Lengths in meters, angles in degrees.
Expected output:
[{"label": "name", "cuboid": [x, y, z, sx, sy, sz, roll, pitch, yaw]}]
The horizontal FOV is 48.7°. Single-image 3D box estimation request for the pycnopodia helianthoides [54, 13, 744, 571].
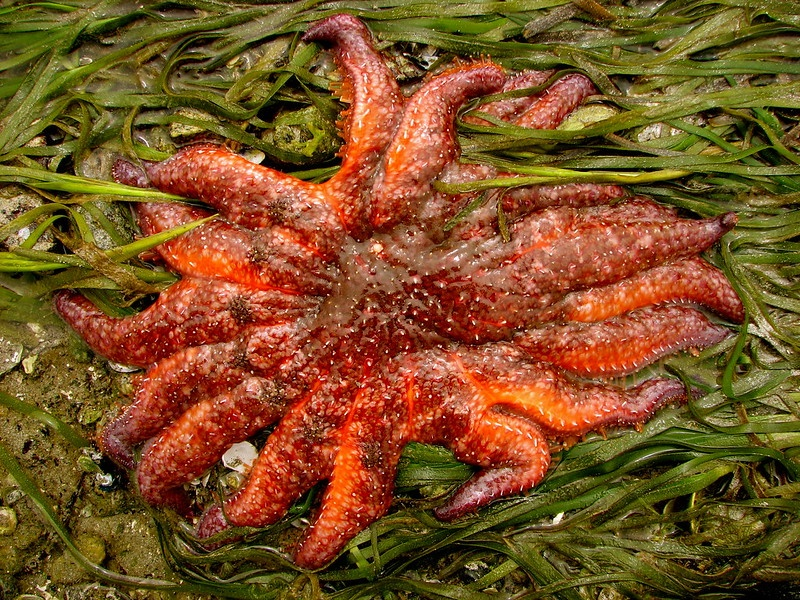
[{"label": "pycnopodia helianthoides", "cuboid": [-0.119, 0.005, 5.692, 3.944, 0.687, 2.894, -23, 83, -2]}]
